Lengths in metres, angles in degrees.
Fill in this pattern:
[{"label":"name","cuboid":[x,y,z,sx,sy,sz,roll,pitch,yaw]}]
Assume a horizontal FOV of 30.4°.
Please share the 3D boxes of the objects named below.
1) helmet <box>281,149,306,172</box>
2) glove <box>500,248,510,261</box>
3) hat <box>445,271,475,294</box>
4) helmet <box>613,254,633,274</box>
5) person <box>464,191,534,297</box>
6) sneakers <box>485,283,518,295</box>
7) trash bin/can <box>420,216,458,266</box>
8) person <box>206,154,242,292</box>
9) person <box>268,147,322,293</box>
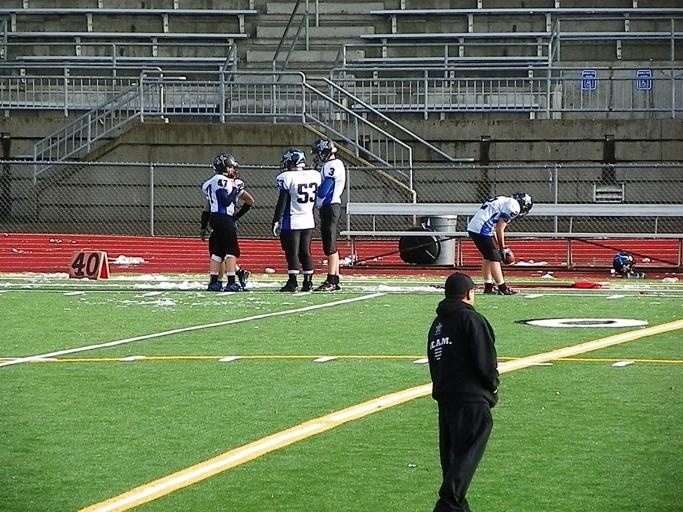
[{"label":"helmet","cuboid":[-0.790,-1.577,20.699,0.383,0.376,0.302,13,17,39]},{"label":"glove","cuboid":[2.716,-0.027,20.789,0.193,0.191,0.171,0,2,35]},{"label":"hat","cuboid":[1.125,0.245,11.879,0.171,0.156,0.250,5,16,31]},{"label":"helmet","cuboid":[5.330,0.163,23.689,0.370,0.418,0.499,2,11,12]},{"label":"person","cuboid":[2.571,-0.176,20.440,1.002,1.676,1.003,1,11,8]},{"label":"sneakers","cuboid":[2.667,0.538,20.531,0.583,0.274,0.204,0,13,14]},{"label":"trash bin/can","cuboid":[2.012,-0.339,24.797,0.839,0.961,0.854,0,5,21]},{"label":"person","cuboid":[-1.895,-0.525,20.913,0.716,2.245,0.687,-1,10,-7]},{"label":"person","cuboid":[-0.704,-0.529,20.619,0.781,2.338,0.451,-2,10,-9]}]
